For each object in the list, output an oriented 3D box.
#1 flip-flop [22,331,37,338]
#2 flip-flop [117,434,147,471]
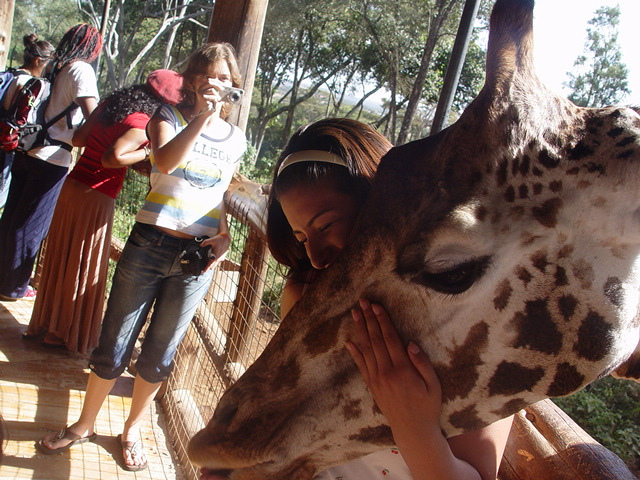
[{"bbox_3d":[-2.396,0.778,3.761,0.050,0.050,0.138,1,-3,-15],"label":"flip-flop"},{"bbox_3d":[-1.170,1.350,2.875,0.099,0.079,0.264,3,30,-42],"label":"flip-flop"}]
